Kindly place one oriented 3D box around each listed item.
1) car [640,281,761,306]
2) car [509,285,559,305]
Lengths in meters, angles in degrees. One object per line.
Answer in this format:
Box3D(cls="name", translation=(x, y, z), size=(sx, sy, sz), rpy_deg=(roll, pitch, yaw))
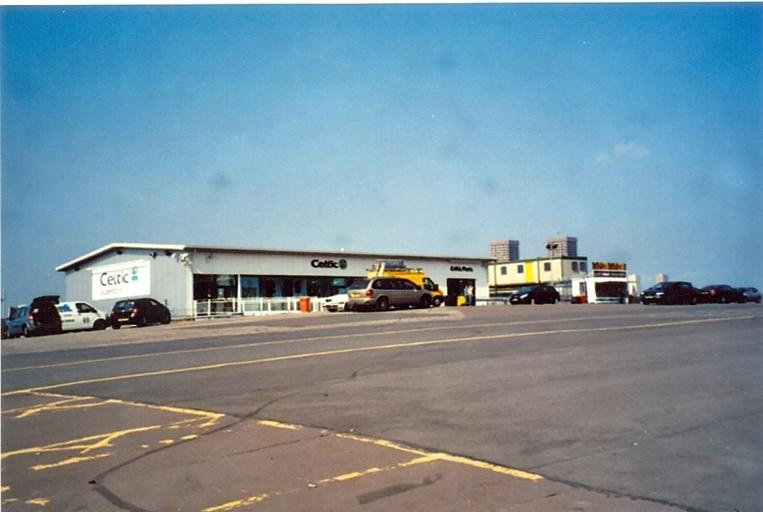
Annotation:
Box3D(cls="car", translation=(17.758, 2.099, 36.611), size=(6.946, 1.597, 2.320), rpy_deg=(-4, 3, -27))
Box3D(cls="car", translation=(10.027, 2.643, 43.432), size=(2.670, 1.185, 1.460), rpy_deg=(3, -7, -22))
